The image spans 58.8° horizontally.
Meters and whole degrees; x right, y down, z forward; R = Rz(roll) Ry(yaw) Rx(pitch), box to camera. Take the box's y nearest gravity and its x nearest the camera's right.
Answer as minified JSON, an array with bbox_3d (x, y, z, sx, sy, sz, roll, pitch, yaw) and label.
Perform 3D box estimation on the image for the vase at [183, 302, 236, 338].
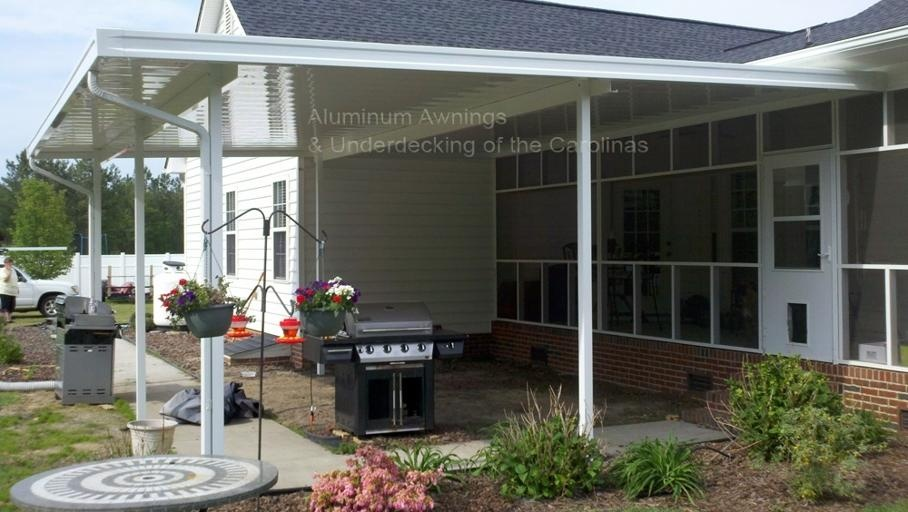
[{"bbox_3d":[-2.942,0.775,9.618,0.696,0.394,0.720,-10,-12,39],"label":"vase"}]

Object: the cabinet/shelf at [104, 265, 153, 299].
[{"bbox_3d":[-11.166,0.922,27.323,1.537,1.044,1.476,0,2,-14],"label":"cabinet/shelf"}]

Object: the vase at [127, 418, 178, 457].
[{"bbox_3d":[-3.856,2.334,10.345,0.512,0.352,0.491,4,-6,-22],"label":"vase"}]

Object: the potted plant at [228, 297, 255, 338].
[{"bbox_3d":[-3.005,0.836,11.139,0.332,0.545,0.319,-3,-1,-22],"label":"potted plant"}]

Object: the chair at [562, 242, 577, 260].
[{"bbox_3d":[2.196,-0.110,15.138,0.312,0.370,0.296,0,-4,-4],"label":"chair"}]

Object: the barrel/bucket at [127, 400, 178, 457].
[{"bbox_3d":[-3.929,2.400,10.453,0.615,0.414,0.596,1,0,0],"label":"barrel/bucket"}]

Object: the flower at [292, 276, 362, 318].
[{"bbox_3d":[-1.642,0.575,10.676,0.810,0.456,0.827,-4,2,-2],"label":"flower"}]

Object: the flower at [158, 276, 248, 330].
[{"bbox_3d":[-3.111,0.582,9.608,0.749,0.488,0.687,1,1,-32],"label":"flower"}]

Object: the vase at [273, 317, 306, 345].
[{"bbox_3d":[-2.410,1.090,11.681,0.508,0.401,0.487,1,1,-1],"label":"vase"}]
